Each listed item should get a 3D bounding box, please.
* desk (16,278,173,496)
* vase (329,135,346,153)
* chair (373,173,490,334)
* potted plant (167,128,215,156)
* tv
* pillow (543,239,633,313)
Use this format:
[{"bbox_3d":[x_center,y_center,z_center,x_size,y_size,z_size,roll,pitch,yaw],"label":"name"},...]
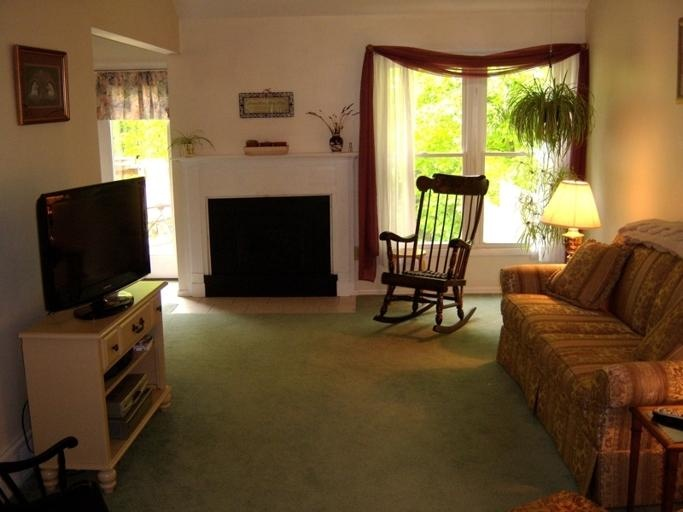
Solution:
[{"bbox_3d":[-1.320,0.694,2.774,0.359,0.822,0.927,0,13,2],"label":"desk"},{"bbox_3d":[-0.056,-1.149,5.411,0.159,0.212,0.171,-6,22,-13],"label":"vase"},{"bbox_3d":[0.794,-0.016,4.722,0.775,1.360,0.958,5,9,31],"label":"chair"},{"bbox_3d":[-1.571,-1.163,5.472,0.303,0.174,0.314,2,10,7],"label":"potted plant"},{"bbox_3d":[-1.339,-0.021,2.843,0.209,0.585,0.739,1,11,13],"label":"tv"},{"bbox_3d":[1.694,0.096,3.647,0.141,0.451,0.484,26,-2,-15],"label":"pillow"}]
